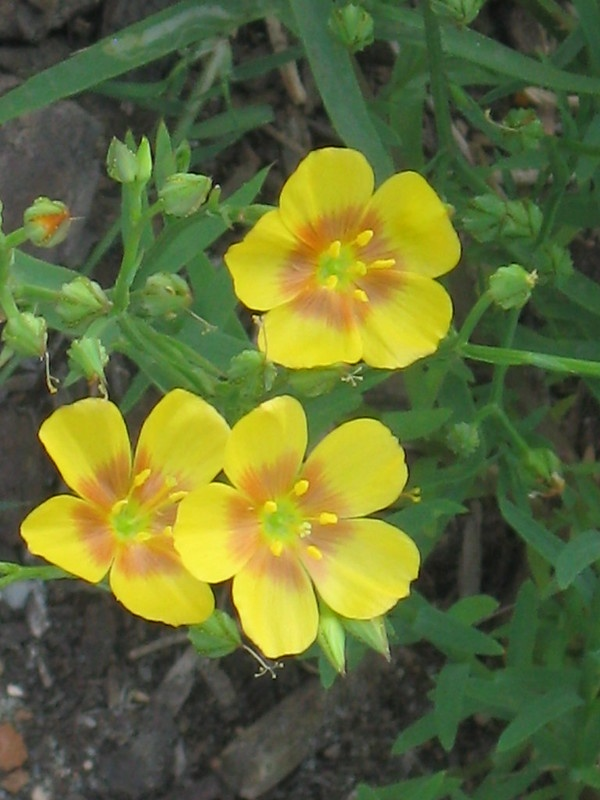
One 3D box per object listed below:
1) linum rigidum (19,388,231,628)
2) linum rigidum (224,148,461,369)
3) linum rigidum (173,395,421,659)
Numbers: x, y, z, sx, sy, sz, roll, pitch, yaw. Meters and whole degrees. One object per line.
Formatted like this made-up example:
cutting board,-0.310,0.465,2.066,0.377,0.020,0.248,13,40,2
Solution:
linum rigidum,-0.296,0.163,1.535,0.439,0.207,0.368,6,86,-15
linum rigidum,0.081,-0.227,1.550,0.390,0.278,0.297,-10,67,-8
linum rigidum,0.011,0.215,1.559,0.449,0.143,0.408,44,63,-21
